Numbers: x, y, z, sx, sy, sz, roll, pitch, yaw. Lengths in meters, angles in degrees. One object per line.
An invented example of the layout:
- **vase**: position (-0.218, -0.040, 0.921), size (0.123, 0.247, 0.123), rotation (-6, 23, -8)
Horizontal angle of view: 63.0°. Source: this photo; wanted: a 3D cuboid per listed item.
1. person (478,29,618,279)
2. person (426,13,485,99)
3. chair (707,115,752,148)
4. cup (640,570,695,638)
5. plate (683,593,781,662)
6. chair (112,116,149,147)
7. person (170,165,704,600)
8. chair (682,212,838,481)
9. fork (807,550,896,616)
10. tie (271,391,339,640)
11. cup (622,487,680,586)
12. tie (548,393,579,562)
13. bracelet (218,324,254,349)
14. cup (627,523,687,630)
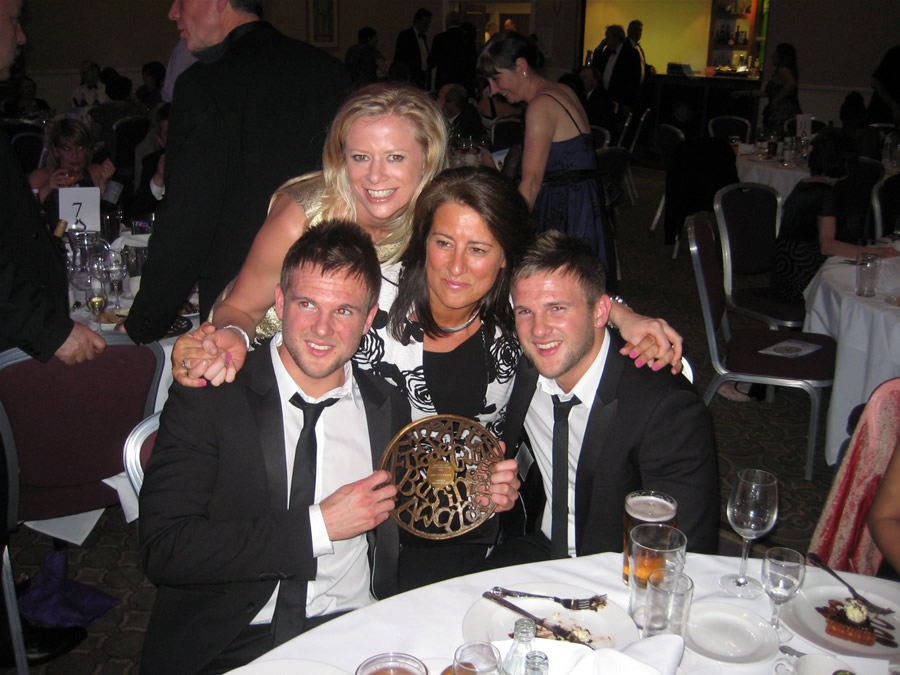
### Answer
- **person**: position (0.719, -1.062, 4.964), size (0.825, 1.987, 0.665), rotation (-7, 46, 7)
- **person**: position (0.088, -4.174, 11.634), size (0.712, 1.860, 0.537), rotation (-1, -25, 1)
- **chair**: position (3.589, -2.705, 9.498), size (0.499, 0.338, 0.481), rotation (3, 12, 10)
- **cup**: position (0.489, 0.599, 1.646), size (0.087, 0.163, 0.159), rotation (7, 12, 26)
- **plate**: position (0.650, 0.681, 1.692), size (0.194, 0.060, 0.162), rotation (7, 13, 24)
- **chair**: position (-3.129, -2.049, 7.240), size (0.335, 0.301, 0.265), rotation (-2, 6, 44)
- **person**: position (-0.104, 0.157, 2.212), size (1.292, 1.470, 0.457), rotation (-5, 6, -16)
- **chair**: position (1.736, 0.015, 4.015), size (0.869, 1.328, 0.769), rotation (11, 18, 39)
- **fork**: position (0.973, 0.606, 1.840), size (0.044, 0.054, 0.301), rotation (10, 18, -16)
- **tie**: position (-0.397, 0.475, 1.991), size (0.107, 0.637, 0.072), rotation (7, -24, -10)
- **cup**: position (0.513, 0.530, 1.865), size (0.141, 0.230, 0.142), rotation (7, -3, 0)
- **tie**: position (0.337, 0.407, 2.213), size (0.079, 0.453, 0.226), rotation (3, 12, 10)
- **bracelet**: position (-0.644, 0.012, 2.205), size (0.076, 0.057, 0.077), rotation (-6, 23, -5)
- **cup**: position (0.455, 0.578, 1.737), size (0.150, 0.244, 0.156), rotation (-1, -17, 0)
